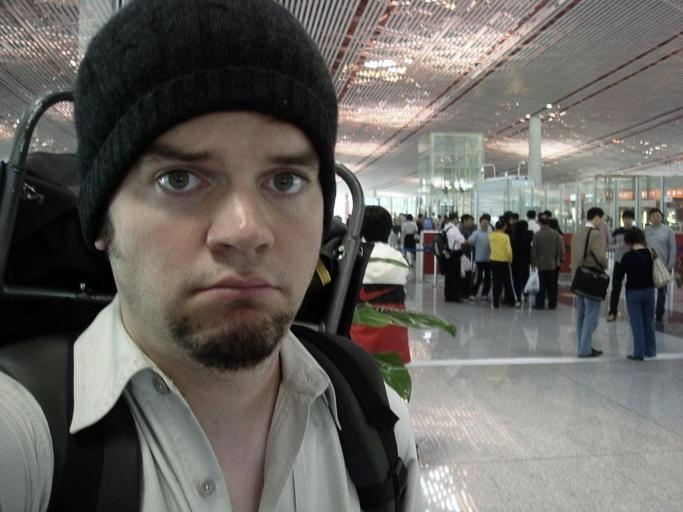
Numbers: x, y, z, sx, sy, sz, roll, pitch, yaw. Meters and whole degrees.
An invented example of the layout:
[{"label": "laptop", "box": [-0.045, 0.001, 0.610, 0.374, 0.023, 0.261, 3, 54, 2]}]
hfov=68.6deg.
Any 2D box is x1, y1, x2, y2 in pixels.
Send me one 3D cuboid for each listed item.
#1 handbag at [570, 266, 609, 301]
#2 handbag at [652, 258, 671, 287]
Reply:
[{"label": "handbag", "box": [2.985, 0.329, 5.967, 0.412, 0.430, 0.168, 16, -10, 0]}, {"label": "handbag", "box": [3.623, 0.189, 5.610, 0.268, 0.302, 0.143, -2, 4, -40]}]
